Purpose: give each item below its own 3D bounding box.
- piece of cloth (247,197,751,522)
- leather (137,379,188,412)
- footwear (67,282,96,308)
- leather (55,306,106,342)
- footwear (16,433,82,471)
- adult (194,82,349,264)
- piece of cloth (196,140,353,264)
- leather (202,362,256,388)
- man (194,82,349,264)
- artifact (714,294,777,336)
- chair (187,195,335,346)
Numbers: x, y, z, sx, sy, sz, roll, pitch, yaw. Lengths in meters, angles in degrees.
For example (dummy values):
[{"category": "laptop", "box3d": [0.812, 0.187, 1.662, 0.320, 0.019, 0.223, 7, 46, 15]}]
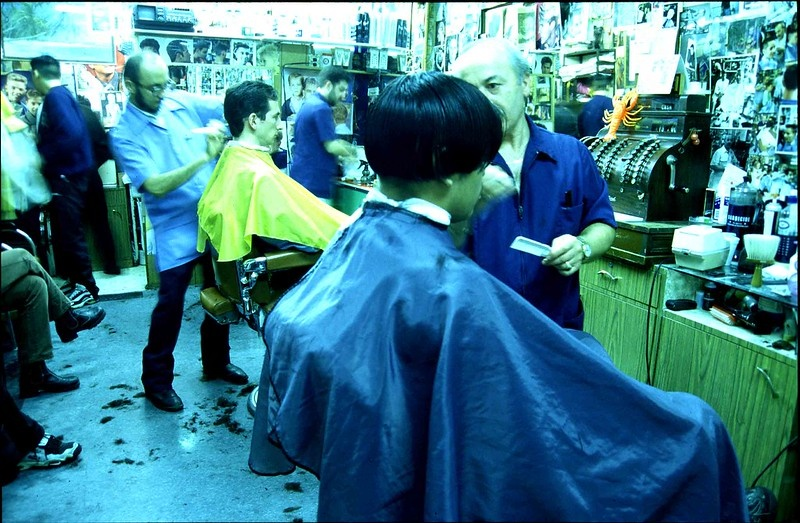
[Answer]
[{"category": "piece of cloth", "box3d": [0.265, 0.435, 2.213, 1.147, 0.785, 1.193, -6, 7, -25]}, {"category": "leather", "box3d": [-1.382, 0.793, 3.836, 0.288, 0.125, 0.110, 12, 15, 39]}, {"category": "footwear", "box3d": [-2.231, 0.235, 4.586, 0.099, 0.141, 0.269, -9, 18, -43]}, {"category": "leather", "box3d": [-2.124, 0.411, 4.337, 0.105, 0.193, 0.322, 15, 32, 24]}, {"category": "footwear", "box3d": [-1.788, 0.960, 3.332, 0.257, 0.106, 0.115, -10, 35, -23]}, {"category": "adult", "box3d": [-0.779, -0.425, 3.818, 0.893, 0.914, 1.026, -10, 24, -32]}, {"category": "piece of cloth", "box3d": [-0.674, -0.298, 3.639, 0.797, 0.438, 0.663, 4, 17, -7]}, {"category": "leather", "box3d": [-1.111, 0.723, 4.177, 0.385, 0.173, 0.137, -2, 8, 4]}, {"category": "man", "box3d": [-0.781, -0.417, 3.796, 0.893, 0.914, 1.026, -10, 24, -32]}, {"category": "artifact", "box3d": [1.667, 0.250, 3.201, 0.154, 0.116, 0.213, 13, 14, -13]}, {"category": "chair", "box3d": [-0.786, 0.038, 3.626, 0.603, 0.734, 0.518, -4, 18, -30]}]
